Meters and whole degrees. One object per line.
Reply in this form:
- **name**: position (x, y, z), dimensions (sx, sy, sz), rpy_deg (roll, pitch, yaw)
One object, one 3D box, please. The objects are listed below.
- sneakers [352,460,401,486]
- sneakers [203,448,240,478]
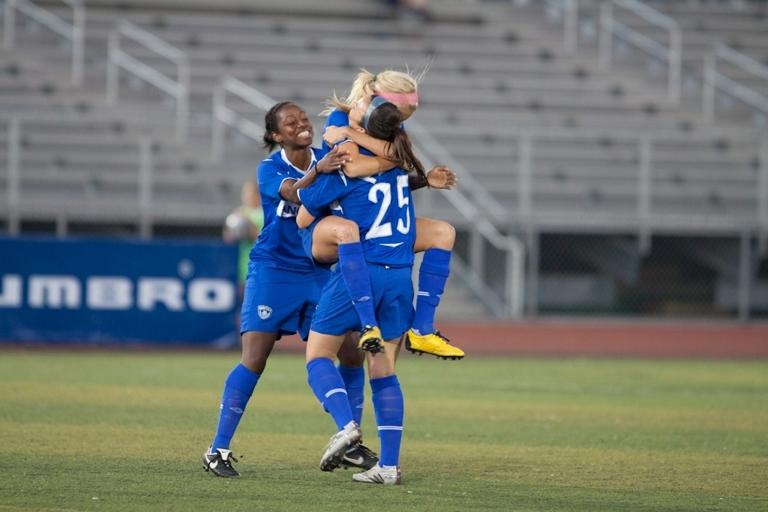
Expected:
- **sneakers**: position (-0.054, 2.850, 24.666), dimensions (0.707, 0.273, 0.238), rpy_deg (4, -9, 8)
- **sneakers**: position (-2.179, 2.702, 24.638), dimensions (0.504, 0.221, 0.302), rpy_deg (15, 9, 41)
